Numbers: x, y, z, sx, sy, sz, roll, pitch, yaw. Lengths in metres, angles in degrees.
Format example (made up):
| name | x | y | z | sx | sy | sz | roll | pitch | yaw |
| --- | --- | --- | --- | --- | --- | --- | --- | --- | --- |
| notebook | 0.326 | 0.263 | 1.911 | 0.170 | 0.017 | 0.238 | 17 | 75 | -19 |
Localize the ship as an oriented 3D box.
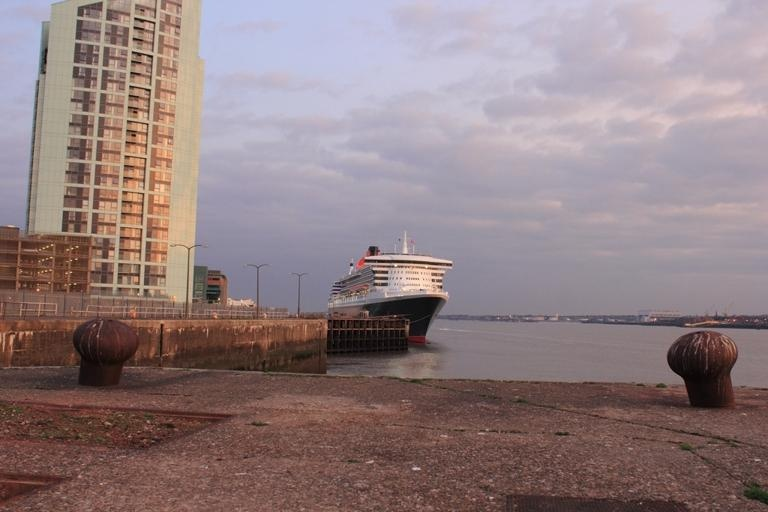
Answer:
| name | x | y | z | sx | sy | sz | roll | pitch | yaw |
| --- | --- | --- | --- | --- | --- | --- | --- | --- | --- |
| ship | -0.597 | 5.887 | 122.555 | 12.680 | 17.504 | 53.120 | 3 | -6 | -16 |
